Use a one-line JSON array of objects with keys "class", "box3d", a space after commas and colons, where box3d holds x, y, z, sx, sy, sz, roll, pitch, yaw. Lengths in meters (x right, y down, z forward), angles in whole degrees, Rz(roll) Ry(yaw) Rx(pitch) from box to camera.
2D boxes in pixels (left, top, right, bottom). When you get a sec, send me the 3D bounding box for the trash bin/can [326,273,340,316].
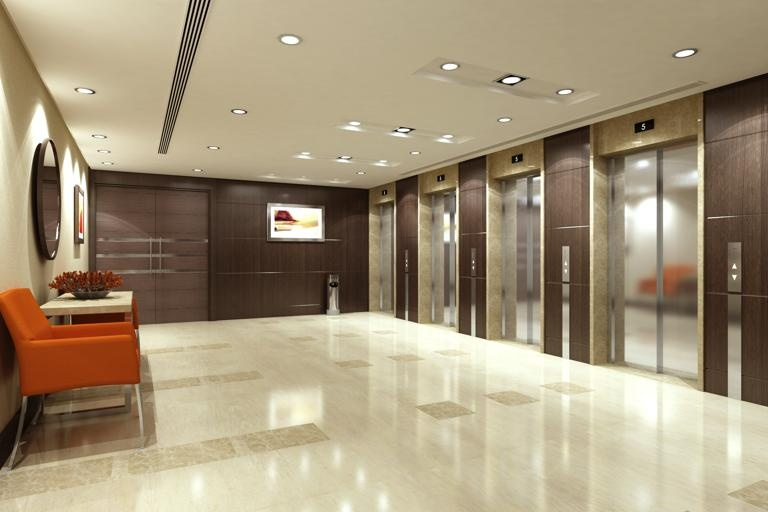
[{"class": "trash bin/can", "box3d": [-1.338, 0.994, 12.732, 0.363, 0.988, 0.543, -1, 8, -6]}]
